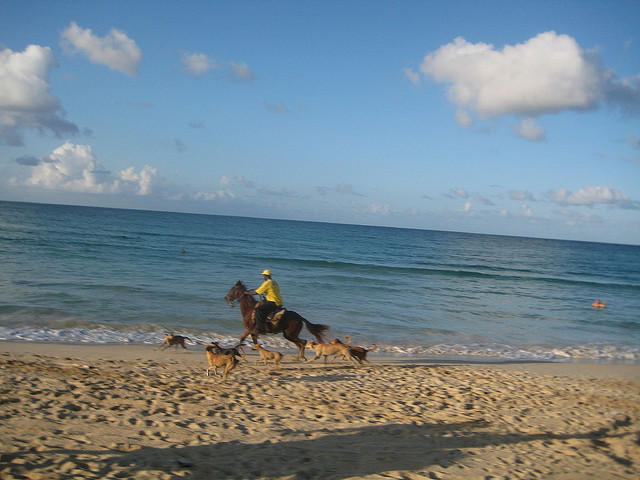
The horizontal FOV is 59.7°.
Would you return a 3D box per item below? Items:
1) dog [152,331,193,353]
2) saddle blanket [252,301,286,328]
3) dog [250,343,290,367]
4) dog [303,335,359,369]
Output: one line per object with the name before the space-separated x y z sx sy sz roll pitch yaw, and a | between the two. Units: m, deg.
dog | -5.392 3.764 20.522 1.116 0.718 0.906 14 13 31
saddle blanket | -1.464 2.701 19.964 1.217 0.737 0.376 10 -7 14
dog | -1.871 3.982 19.134 0.787 0.760 1.132 1 12 -33
dog | 0.432 3.854 19.480 2.085 0.774 0.473 -8 -10 31
